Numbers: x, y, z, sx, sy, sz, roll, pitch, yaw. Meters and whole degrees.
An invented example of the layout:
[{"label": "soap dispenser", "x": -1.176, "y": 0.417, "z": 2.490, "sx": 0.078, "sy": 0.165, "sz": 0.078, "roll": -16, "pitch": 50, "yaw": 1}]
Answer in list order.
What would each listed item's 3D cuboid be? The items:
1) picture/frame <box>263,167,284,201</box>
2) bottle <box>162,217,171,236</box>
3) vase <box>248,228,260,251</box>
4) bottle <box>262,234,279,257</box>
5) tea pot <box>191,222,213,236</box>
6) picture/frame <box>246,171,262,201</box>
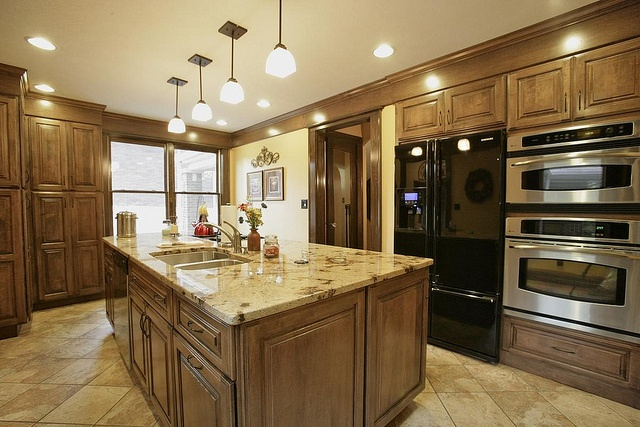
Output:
[{"label": "picture/frame", "x": -0.720, "y": -0.470, "z": 6.695, "sx": 0.043, "sy": 0.528, "sz": 0.542, "roll": -3, "pitch": 3, "yaw": -41}, {"label": "bottle", "x": -1.876, "y": 0.166, "z": 5.241, "sx": 0.103, "sy": 0.174, "sz": 0.292, "roll": -3, "pitch": 3, "yaw": -20}, {"label": "vase", "x": -0.657, "y": 0.249, "z": 4.249, "sx": 0.131, "sy": 0.232, "sz": 0.157, "roll": -2, "pitch": 3, "yaw": -10}, {"label": "bottle", "x": -0.451, "y": 0.308, "z": 4.075, "sx": 0.142, "sy": 0.187, "sz": 0.192, "roll": 0, "pitch": -4, "yaw": -4}, {"label": "tea pot", "x": -1.409, "y": 0.195, "z": 5.187, "sx": 0.262, "sy": 0.174, "sz": 0.260, "roll": 0, "pitch": 1, "yaw": 0}, {"label": "picture/frame", "x": -1.088, "y": -0.458, "z": 7.055, "sx": 0.109, "sy": 0.483, "sz": 0.460, "roll": -3, "pitch": 3, "yaw": -32}]
